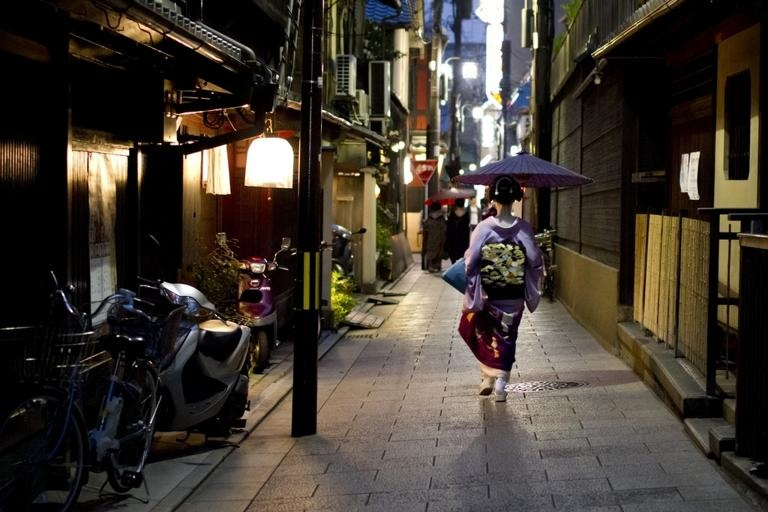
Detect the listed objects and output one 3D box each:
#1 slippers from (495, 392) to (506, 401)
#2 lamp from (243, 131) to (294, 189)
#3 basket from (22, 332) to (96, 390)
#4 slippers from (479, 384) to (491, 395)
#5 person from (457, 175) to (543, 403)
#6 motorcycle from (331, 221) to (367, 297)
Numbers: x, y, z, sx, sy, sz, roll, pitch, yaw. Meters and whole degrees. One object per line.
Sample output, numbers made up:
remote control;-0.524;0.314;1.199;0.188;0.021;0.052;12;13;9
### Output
slippers;1.593;1.907;8.673;0.164;0.136;0.184;0;6;11
lamp;-1.798;-1.473;9.808;0.693;0.890;0.740;1;-1;-11
basket;-2.641;0.817;5.144;0.538;0.453;0.236;-5;6;-28
slippers;1.414;1.878;8.914;0.168;0.190;0.118;5;3;35
person;1.642;0.417;9.061;0.930;3.124;0.958;4;7;45
motorcycle;-1.204;-0.165;19.152;0.936;1.279;1.788;9;12;11
